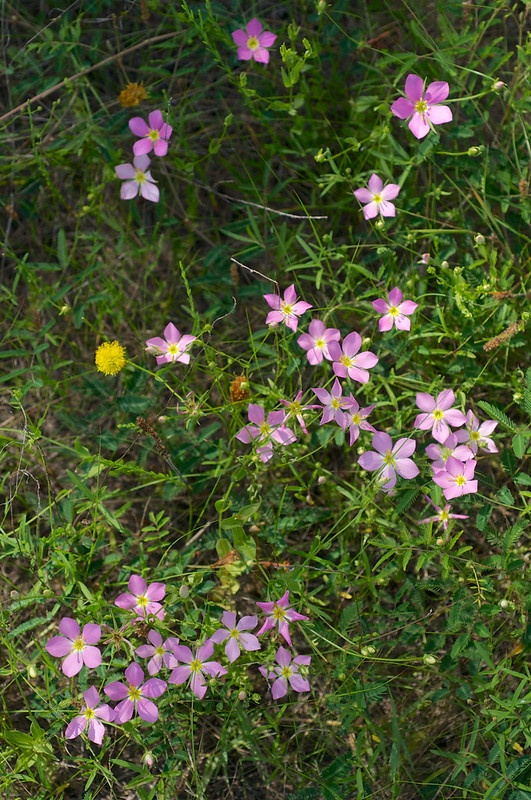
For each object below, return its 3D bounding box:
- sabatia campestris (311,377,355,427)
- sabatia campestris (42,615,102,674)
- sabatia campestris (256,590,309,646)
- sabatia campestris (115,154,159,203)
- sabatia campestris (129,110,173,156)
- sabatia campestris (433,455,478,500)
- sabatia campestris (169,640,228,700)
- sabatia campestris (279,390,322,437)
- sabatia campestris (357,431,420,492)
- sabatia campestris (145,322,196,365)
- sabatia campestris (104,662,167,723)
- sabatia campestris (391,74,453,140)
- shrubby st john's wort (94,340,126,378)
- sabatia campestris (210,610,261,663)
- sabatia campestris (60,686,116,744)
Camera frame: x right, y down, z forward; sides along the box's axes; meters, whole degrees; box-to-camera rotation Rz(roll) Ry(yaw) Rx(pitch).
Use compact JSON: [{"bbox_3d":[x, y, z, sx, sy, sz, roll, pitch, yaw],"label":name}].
[{"bbox_3d":[0.180,-0.004,1.746,0.133,0.043,0.121,-18,28,-15],"label":"sabatia campestris"},{"bbox_3d":[-0.478,0.624,1.704,0.129,0.218,0.119,-2,61,-13],"label":"sabatia campestris"},{"bbox_3d":[0.031,0.513,1.664,0.131,0.031,0.120,-12,8,16],"label":"sabatia campestris"},{"bbox_3d":[-0.383,-0.638,2.011,0.110,0.164,0.154,-6,62,-15],"label":"sabatia campestris"},{"bbox_3d":[-0.329,-0.748,1.951,0.134,0.140,0.034,22,23,6],"label":"sabatia campestris"},{"bbox_3d":[0.481,0.181,1.710,0.046,0.105,0.108,-19,65,-50],"label":"sabatia campestris"},{"bbox_3d":[-0.169,0.665,1.674,0.131,0.100,0.121,1,60,-11],"label":"sabatia campestris"},{"bbox_3d":[0.099,0.029,1.778,0.114,0.098,0.052,26,25,-13],"label":"sabatia campestris"},{"bbox_3d":[0.316,0.145,1.704,0.126,0.032,0.125,22,15,35],"label":"sabatia campestris"},{"bbox_3d":[-0.250,-0.163,1.790,0.121,0.043,0.118,16,80,18],"label":"sabatia campestris"},{"bbox_3d":[-0.317,0.725,1.675,0.150,0.033,0.161,25,28,37],"label":"sabatia campestris"},{"bbox_3d":[0.410,-0.776,1.778,0.161,0.165,0.047,22,81,10],"label":"sabatia campestris"},{"bbox_3d":[-0.442,-0.118,1.955,0.073,0.149,0.140,3,60,-10],"label":"shrubby st john's wort"},{"bbox_3d":[-0.077,0.567,1.666,0.133,0.027,0.135,-17,16,-40],"label":"sabatia campestris"},{"bbox_3d":[-0.419,0.759,1.688,0.055,0.158,0.149,-45,40,-10],"label":"sabatia campestris"}]
